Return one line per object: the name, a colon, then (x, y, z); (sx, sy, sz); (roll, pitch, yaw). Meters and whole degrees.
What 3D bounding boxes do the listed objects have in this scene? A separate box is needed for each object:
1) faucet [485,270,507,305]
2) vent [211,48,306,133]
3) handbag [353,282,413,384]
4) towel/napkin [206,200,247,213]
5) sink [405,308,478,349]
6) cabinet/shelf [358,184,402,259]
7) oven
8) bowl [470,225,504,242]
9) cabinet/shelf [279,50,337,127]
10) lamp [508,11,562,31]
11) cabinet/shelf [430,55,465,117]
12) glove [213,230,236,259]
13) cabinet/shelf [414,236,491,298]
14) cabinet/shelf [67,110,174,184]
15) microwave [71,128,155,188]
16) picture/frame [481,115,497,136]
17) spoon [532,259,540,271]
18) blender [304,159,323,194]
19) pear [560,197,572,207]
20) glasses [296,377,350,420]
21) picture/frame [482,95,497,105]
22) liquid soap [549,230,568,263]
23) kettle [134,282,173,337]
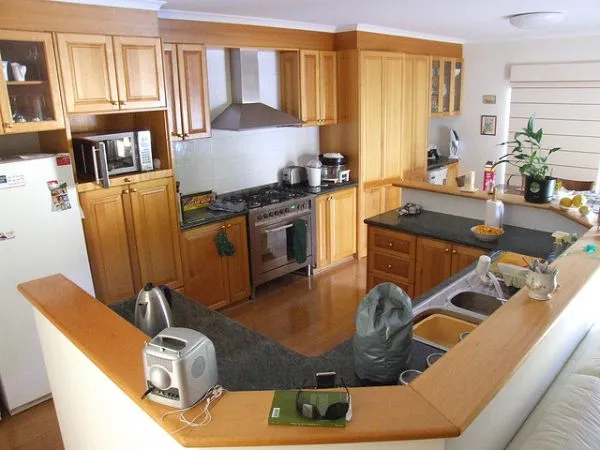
faucet: (1.344, 0.436, 3.014); (0.039, 0.226, 0.084); (-12, 8, 19)
vent: (-0.607, -1.561, 5.006); (0.931, 0.878, 1.018); (7, 18, 33)
handbag: (0.418, 0.551, 2.230); (0.293, 0.509, 0.217); (2, 19, 12)
towel/napkin: (-0.780, -0.228, 4.775); (0.453, 0.092, 0.314); (9, 21, 29)
sink: (0.901, 0.640, 2.710); (0.277, 0.168, 0.268); (-25, 33, -37)
cabinet/shelf: (0.900, -0.041, 5.118); (0.267, 0.816, 0.854); (13, 23, 37)
oven: (-0.369, 0.128, 5.314); (0.947, 1.052, 0.729); (-16, 24, -33)
bowl: (1.668, 0.063, 3.922); (0.257, 0.080, 0.278); (-2, 18, 1)
cabinet/shelf: (0.069, -1.713, 5.370); (0.803, 1.097, 0.530); (-17, 26, -38)
lamp: (2.522, -2.229, 4.726); (0.502, 0.112, 0.487); (5, 19, 19)
cabinet/shelf: (2.311, -2.256, 6.934); (0.323, 0.832, 0.905); (14, 25, 40)
glove: (-0.774, 0.194, 4.574); (0.225, 0.330, 0.096); (-12, 21, -27)
cabinet/shelf: (1.280, 0.324, 3.623); (0.461, 0.424, 0.271); (17, 26, 41)
cabinet/shelf: (-1.644, -0.654, 4.178); (0.875, 0.550, 0.579); (-17, 26, -36)
microwave: (-1.608, -0.598, 3.769); (0.494, 0.323, 0.618); (-17, 28, -35)
picture/frame: (3.102, -1.659, 7.168); (0.015, 0.372, 0.308); (-18, 23, -35)
spoon: (1.320, 0.221, 2.449); (0.036, 0.066, 0.015); (16, 8, 38)
blender: (0.162, -0.682, 5.623); (0.288, 0.353, 0.189); (10, 25, 24)
pear: (2.287, -0.202, 3.771); (0.090, 0.076, 0.085); (-4, 18, -5)
glasses: (0.090, 0.687, 1.763); (0.221, 0.091, 0.242); (-3, 18, -2)
picture/frame: (3.072, -2.050, 7.083); (0.008, 0.122, 0.172); (-23, 28, -34)
liquid soap: (1.964, 0.165, 3.329); (0.155, 0.269, 0.122); (6, 26, 33)
kettle: (-0.792, 0.452, 2.351); (0.187, 0.262, 0.132); (-12, 21, -27)
